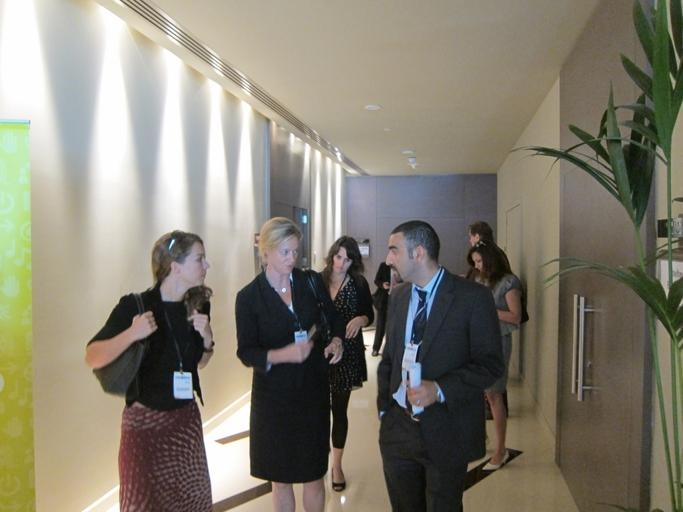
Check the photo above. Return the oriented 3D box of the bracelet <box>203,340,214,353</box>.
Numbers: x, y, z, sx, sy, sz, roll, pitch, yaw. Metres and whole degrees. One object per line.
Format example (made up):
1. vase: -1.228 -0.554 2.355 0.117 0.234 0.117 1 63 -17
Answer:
1. bracelet: -0.836 0.565 3.273 0.058 0.043 0.081 -11 -3 3

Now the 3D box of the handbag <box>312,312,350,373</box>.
1. handbag: -0.072 0.561 3.531 0.088 0.256 0.346 -12 37 13

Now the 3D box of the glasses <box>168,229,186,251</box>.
1. glasses: -0.965 -0.092 3.064 0.073 0.104 0.032 -7 -32 44
